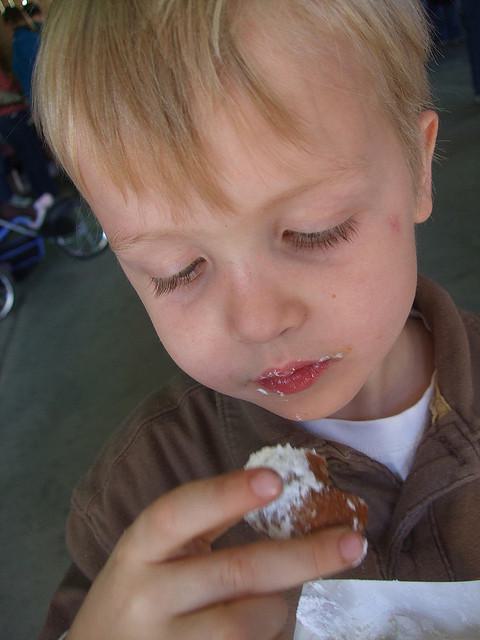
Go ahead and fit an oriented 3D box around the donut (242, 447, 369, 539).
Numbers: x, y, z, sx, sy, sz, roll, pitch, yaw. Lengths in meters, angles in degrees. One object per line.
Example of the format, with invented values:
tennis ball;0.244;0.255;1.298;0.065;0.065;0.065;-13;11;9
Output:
donut;0.091;0.256;0.882;0.134;0.035;0.170;-42;70;-8
